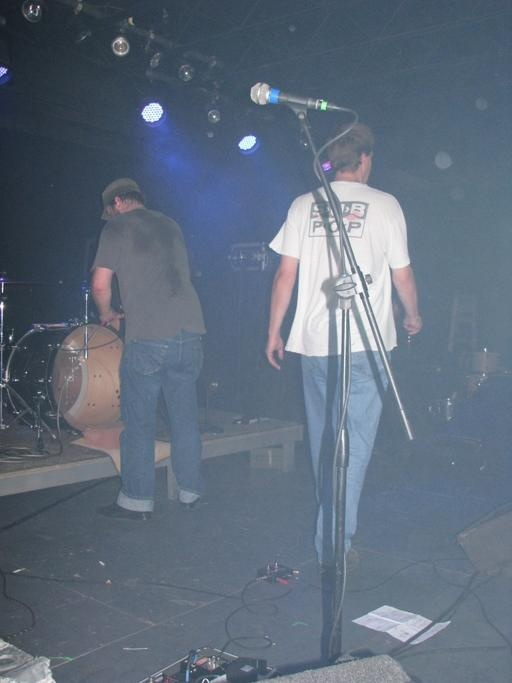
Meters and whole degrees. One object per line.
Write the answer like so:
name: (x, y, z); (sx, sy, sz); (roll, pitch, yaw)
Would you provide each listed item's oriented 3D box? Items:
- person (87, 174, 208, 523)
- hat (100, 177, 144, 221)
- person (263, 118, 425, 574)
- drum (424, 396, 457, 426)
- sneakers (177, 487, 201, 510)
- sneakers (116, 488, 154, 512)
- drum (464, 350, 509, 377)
person: (-0.550, 0.026, 3.999); (0.572, 1.709, 0.404); (-4, 7, -31)
hat: (-0.693, -0.755, 4.074); (0.231, 0.172, 0.160); (-35, 32, -21)
person: (0.387, 0.047, 3.233); (0.614, 1.874, 0.590); (-1, 6, -9)
drum: (1.454, 0.524, 6.075); (0.230, 0.214, 0.178); (2, 6, 21)
sneakers: (-0.354, 0.837, 4.195); (0.136, 0.099, 0.118); (3, 3, -40)
sneakers: (-0.608, 0.810, 3.900); (0.175, 0.114, 0.092); (-1, 6, -7)
drum: (1.784, 0.172, 6.032); (0.233, 0.164, 0.230); (1, -6, 0)
